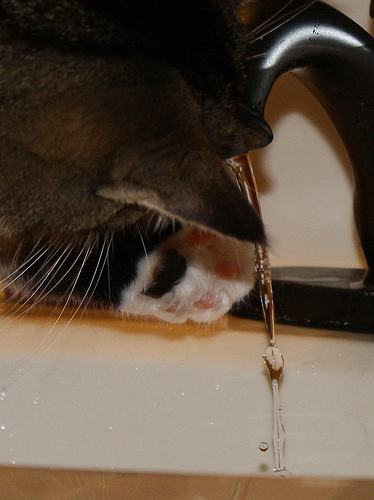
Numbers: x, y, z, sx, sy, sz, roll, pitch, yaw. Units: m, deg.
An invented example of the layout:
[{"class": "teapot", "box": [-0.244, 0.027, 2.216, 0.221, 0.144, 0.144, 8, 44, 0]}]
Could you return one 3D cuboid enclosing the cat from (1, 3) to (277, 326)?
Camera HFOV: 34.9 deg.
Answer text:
[{"class": "cat", "box": [-0.046, -0.062, 0.476, 0.221, 0.263, 0.129, 2, 3, 3]}]
